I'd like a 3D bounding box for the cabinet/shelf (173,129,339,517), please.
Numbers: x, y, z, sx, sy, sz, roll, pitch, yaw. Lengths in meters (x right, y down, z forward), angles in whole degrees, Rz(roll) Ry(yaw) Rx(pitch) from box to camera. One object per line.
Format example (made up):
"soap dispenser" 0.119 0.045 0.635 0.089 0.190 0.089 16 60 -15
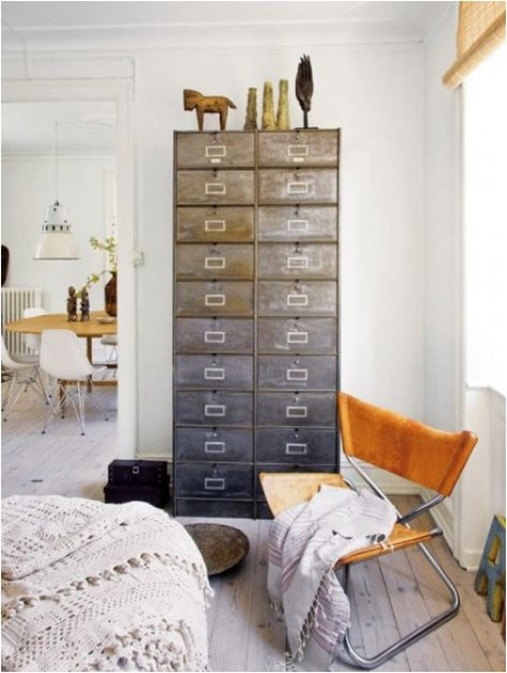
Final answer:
"cabinet/shelf" 0.024 -0.202 3.229 0.751 1.913 0.523 2 34 5

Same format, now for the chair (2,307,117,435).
"chair" -1.466 0.232 4.901 0.784 0.750 1.369 -2 8 -13

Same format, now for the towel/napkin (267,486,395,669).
"towel/napkin" 0.260 0.803 2.174 0.437 0.387 0.585 2 8 15

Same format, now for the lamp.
"lamp" -1.717 -1.218 5.473 0.340 1.148 1.787 -2 8 -17

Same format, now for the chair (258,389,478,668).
"chair" 0.424 0.495 2.435 0.680 0.989 0.883 -14 6 -18
